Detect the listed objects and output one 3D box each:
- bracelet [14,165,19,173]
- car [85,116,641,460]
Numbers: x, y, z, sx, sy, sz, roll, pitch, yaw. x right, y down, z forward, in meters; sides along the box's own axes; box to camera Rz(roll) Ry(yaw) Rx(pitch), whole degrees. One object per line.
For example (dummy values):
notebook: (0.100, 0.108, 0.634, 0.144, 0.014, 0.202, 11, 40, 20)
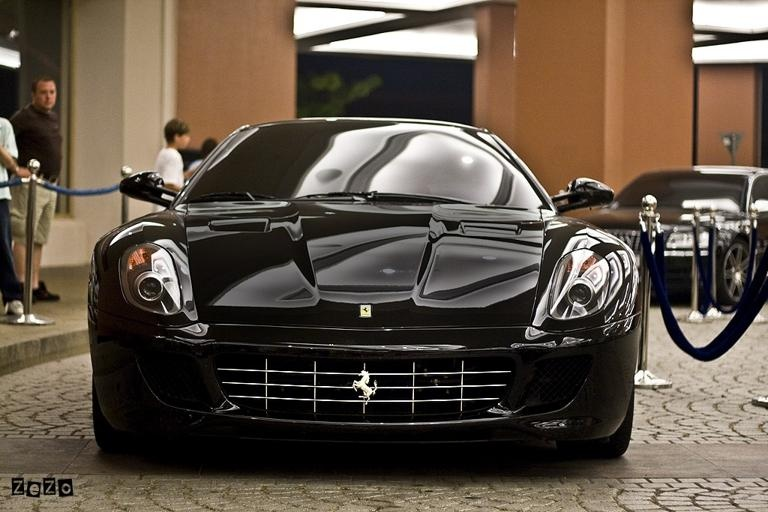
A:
bracelet: (-3.711, -0.875, 8.846, 0.043, 0.058, 0.018, 0, -8, 4)
car: (-0.046, 0.116, 5.245, 3.016, 1.975, 2.171, 2, 5, 11)
